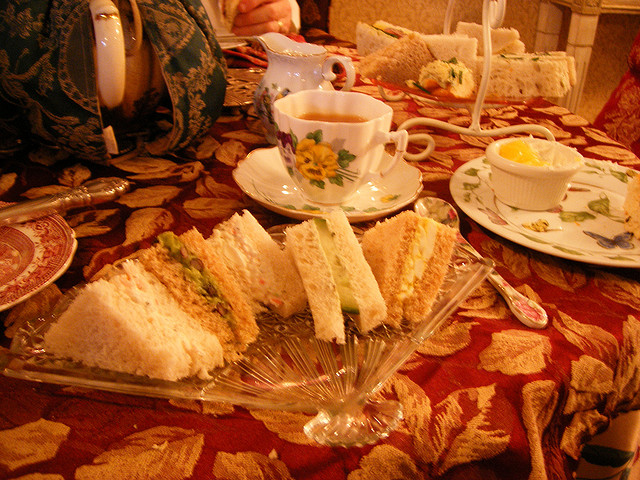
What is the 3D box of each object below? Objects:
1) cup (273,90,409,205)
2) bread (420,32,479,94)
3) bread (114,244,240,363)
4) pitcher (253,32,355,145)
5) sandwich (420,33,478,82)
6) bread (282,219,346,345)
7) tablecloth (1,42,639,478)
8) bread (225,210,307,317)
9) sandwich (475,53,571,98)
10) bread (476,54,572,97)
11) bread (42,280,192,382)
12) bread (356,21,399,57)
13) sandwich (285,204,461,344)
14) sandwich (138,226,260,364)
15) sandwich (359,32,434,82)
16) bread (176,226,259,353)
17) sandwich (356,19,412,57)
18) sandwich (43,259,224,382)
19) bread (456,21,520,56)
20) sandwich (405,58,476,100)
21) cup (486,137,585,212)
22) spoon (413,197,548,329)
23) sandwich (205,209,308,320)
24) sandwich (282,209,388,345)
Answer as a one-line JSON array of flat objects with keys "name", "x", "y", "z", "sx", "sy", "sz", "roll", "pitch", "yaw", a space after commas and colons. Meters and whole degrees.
[{"name": "cup", "x": 0.038, "y": -0.177, "z": 1.008, "sx": 0.238, "sy": 0.197, "sz": 0.287, "roll": -16, "pitch": 35, "yaw": -30}, {"name": "bread", "x": 0.320, "y": -0.434, "z": 1.195, "sx": 0.119, "sy": 0.123, "sz": 0.030, "roll": 10, "pitch": 36, "yaw": 19}, {"name": "bread", "x": -0.179, "y": 0.090, "z": 0.687, "sx": 0.044, "sy": 0.160, "sz": 0.142, "roll": -42, "pitch": 5, "yaw": -6}, {"name": "pitcher", "x": -0.036, "y": -0.350, "z": 1.172, "sx": 0.244, "sy": 0.242, "sz": 0.191, "roll": 12, "pitch": 28, "yaw": 15}, {"name": "sandwich", "x": 0.333, "y": -0.475, "z": 1.228, "sx": 0.097, "sy": 0.024, "sz": 0.100, "roll": 2, "pitch": 58, "yaw": 3}, {"name": "bread", "x": -0.007, "y": 0.064, "z": 0.713, "sx": 0.038, "sy": 0.145, "sz": 0.138, "roll": -17, "pitch": -9, "yaw": 17}, {"name": "tablecloth", "x": -0.024, "y": 0.023, "z": 0.797, "sx": 0.731, "sy": 0.181, "sz": 0.747, "roll": -4, "pitch": 43, "yaw": -10}, {"name": "bread", "x": -0.111, "y": 0.037, "z": 0.789, "sx": 0.095, "sy": 0.044, "sz": 0.188, "roll": -20, "pitch": 75, "yaw": -55}, {"name": "sandwich", "x": 0.514, "y": -0.438, "z": 1.209, "sx": 0.175, "sy": 0.066, "sz": 0.136, "roll": 11, "pitch": 31, "yaw": 22}, {"name": "bread", "x": 0.512, "y": -0.404, "z": 1.201, "sx": 0.174, "sy": 0.061, "sz": 0.137, "roll": 6, "pitch": 23, "yaw": 10}, {"name": "bread", "x": -0.266, "y": 0.130, "z": 0.646, "sx": 0.145, "sy": 0.059, "sz": 0.145, "roll": 25, "pitch": 19, "yaw": -16}, {"name": "bread", "x": 0.164, "y": -0.569, "z": 1.323, "sx": 0.114, "sy": 0.037, "sz": 0.117, "roll": 28, "pitch": -7, "yaw": -1}, {"name": "sandwich", "x": 0.078, "y": 0.048, "z": 0.739, "sx": 0.217, "sy": 0.076, "sz": 0.216, "roll": 22, "pitch": 36, "yaw": 25}, {"name": "sandwich", "x": -0.190, "y": 0.081, "z": 0.748, "sx": 0.127, "sy": 0.059, "sz": 0.233, "roll": -35, "pitch": 86, "yaw": -43}, {"name": "sandwich", "x": 0.191, "y": -0.448, "z": 1.206, "sx": 0.130, "sy": 0.038, "sz": 0.138, "roll": -1, "pitch": 29, "yaw": 30}, {"name": "bread", "x": -0.141, "y": 0.066, "z": 0.699, "sx": 0.043, "sy": 0.162, "sz": 0.152, "roll": -27, "pitch": 16, "yaw": 2}, {"name": "sandwich", "x": 0.184, "y": -0.575, "z": 1.347, "sx": 0.150, "sy": 0.052, "sz": 0.151, "roll": -28, "pitch": 42, "yaw": -35}, {"name": "sandwich", "x": -0.229, "y": 0.129, "z": 0.703, "sx": 0.265, "sy": 0.100, "sz": 0.222, "roll": 15, "pitch": 11, "yaw": 20}, {"name": "bread", "x": 0.498, "y": -0.601, "z": 1.417, "sx": 0.173, "sy": 0.043, "sz": 0.176, "roll": 17, "pitch": 31, "yaw": 27}, {"name": "sandwich", "x": 0.311, "y": -0.396, "z": 1.203, "sx": 0.128, "sy": 0.048, "sz": 0.105, "roll": 8, "pitch": 30, "yaw": 3}, {"name": "cup", "x": 0.424, "y": -0.134, "z": 0.985, "sx": 0.154, "sy": 0.102, "sz": 0.156, "roll": -1, "pitch": 32, "yaw": 1}, {"name": "spoon", "x": 0.268, "y": 0.039, "z": 0.892, "sx": 0.087, "sy": 0.050, "sz": 0.363, "roll": -14, "pitch": 43, "yaw": -15}, {"name": "sandwich", "x": -0.105, "y": 0.032, "z": 0.760, "sx": 0.102, "sy": 0.053, "sz": 0.195, "roll": -32, "pitch": 80, "yaw": -22}, {"name": "sandwich", "x": 0.019, "y": 0.049, "z": 0.740, "sx": 0.123, "sy": 0.059, "sz": 0.197, "roll": -18, "pitch": 68, "yaw": -20}]
